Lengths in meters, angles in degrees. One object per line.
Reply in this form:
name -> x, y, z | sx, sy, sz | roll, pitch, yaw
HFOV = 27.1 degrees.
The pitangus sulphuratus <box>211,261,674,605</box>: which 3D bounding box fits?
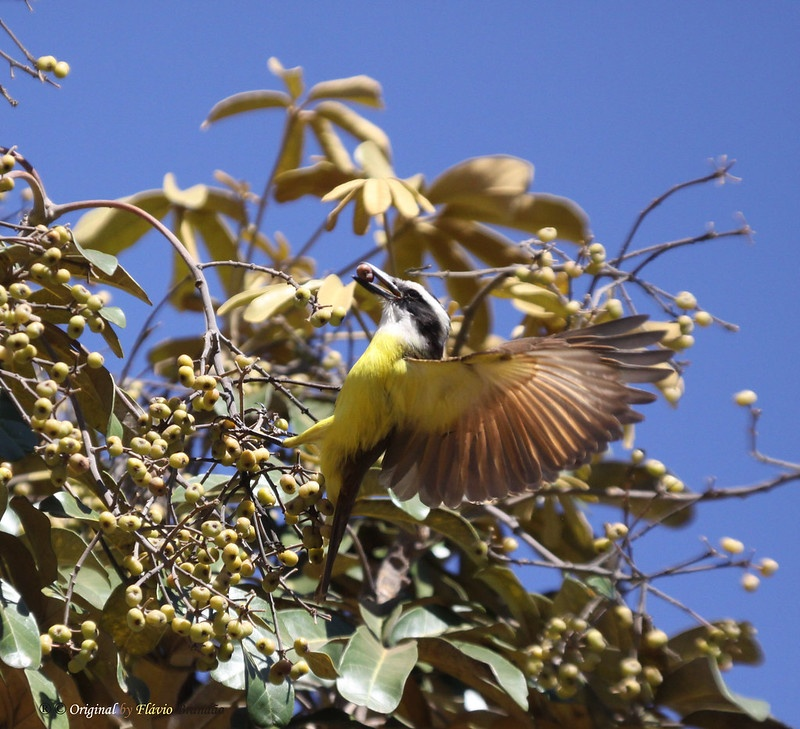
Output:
pitangus sulphuratus -> 0.072, 0.099, 4.614 | 1.191, 0.659, 0.840 | -22, -80, -16
